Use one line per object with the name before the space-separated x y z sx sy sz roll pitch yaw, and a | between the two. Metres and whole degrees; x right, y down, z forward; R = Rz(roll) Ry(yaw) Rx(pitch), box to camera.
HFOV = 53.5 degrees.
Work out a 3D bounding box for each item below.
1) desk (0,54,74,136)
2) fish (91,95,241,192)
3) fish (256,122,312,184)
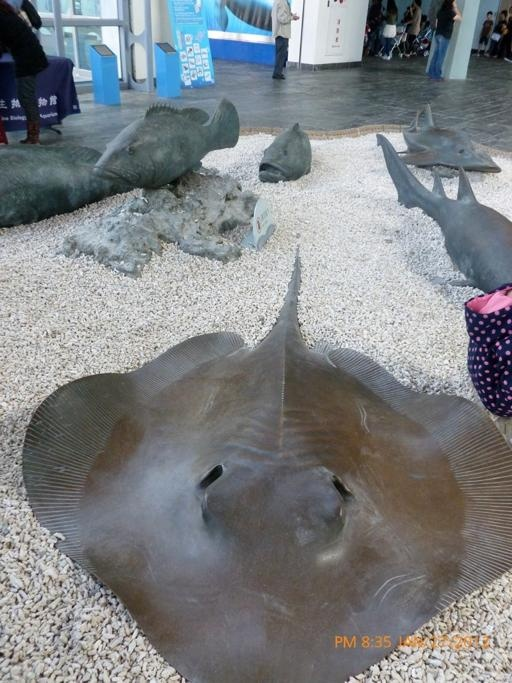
desk | -2.348 -2.684 5.544 0.827 0.677 0.864 9 28 11
fish | -0.542 -1.280 3.294 0.332 0.513 1.181 16 30 20
fish | 0.259 -1.711 4.586 0.385 0.458 0.612 17 30 21
